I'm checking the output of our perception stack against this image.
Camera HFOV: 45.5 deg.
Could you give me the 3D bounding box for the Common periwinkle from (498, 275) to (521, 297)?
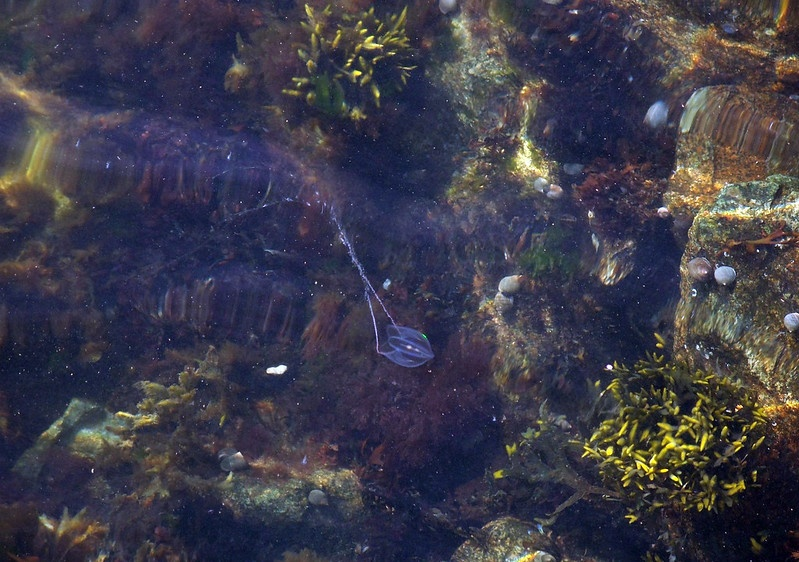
[{"bbox_3d":[1.649,0.047,14.248,0.339,0.368,0.108,20,12,29],"label":"Common periwinkle"}]
